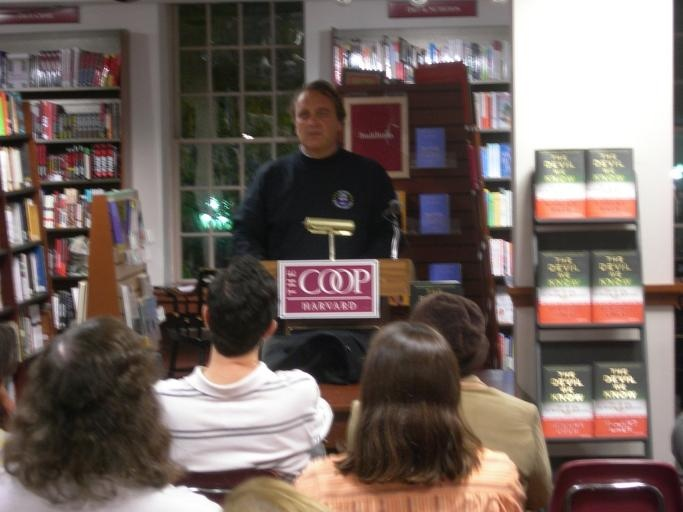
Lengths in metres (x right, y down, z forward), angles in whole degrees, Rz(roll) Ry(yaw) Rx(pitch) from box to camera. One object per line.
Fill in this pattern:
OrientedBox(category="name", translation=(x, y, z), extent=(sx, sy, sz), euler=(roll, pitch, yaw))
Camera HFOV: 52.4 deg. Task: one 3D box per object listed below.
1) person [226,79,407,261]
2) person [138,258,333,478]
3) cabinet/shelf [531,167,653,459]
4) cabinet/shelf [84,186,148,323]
OrientedBox(category="person", translation=(-0.125, -0.429, 3.418), extent=(0.818, 0.889, 0.390), euler=(-1, 5, -10))
OrientedBox(category="person", translation=(-0.295, 0.314, 2.369), extent=(0.630, 1.022, 0.590), euler=(2, 11, -5))
OrientedBox(category="cabinet/shelf", translation=(1.311, 0.317, 3.684), extent=(0.608, 1.617, 0.472), euler=(1, 5, 14))
OrientedBox(category="cabinet/shelf", translation=(-1.595, -0.022, 4.974), extent=(0.260, 0.891, 0.499), euler=(2, 5, 19))
